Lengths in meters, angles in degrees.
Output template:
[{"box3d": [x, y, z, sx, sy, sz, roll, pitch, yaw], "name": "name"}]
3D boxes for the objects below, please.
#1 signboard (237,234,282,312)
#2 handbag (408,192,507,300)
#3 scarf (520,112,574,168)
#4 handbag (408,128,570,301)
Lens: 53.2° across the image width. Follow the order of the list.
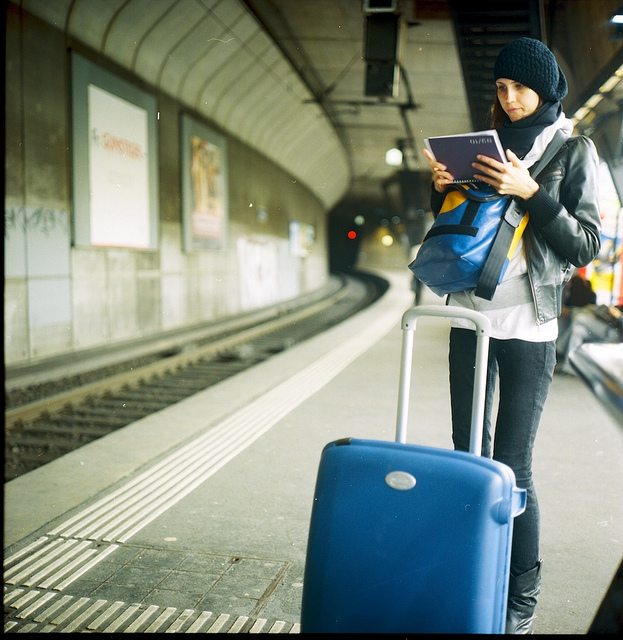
[{"box3d": [-0.680, -0.590, 8.171, 0.624, 0.985, 0.089, 0, -9, -29], "name": "signboard"}, {"box3d": [0.385, -0.219, 1.787, 0.218, 0.140, 0.333, -13, 41, 12], "name": "handbag"}, {"box3d": [0.623, -0.474, 1.665, 0.067, 0.156, 0.119, 24, 15, -48], "name": "scarf"}, {"box3d": [0.510, -0.341, 1.801, 0.233, 0.618, 0.244, 39, -23, -24], "name": "handbag"}]
